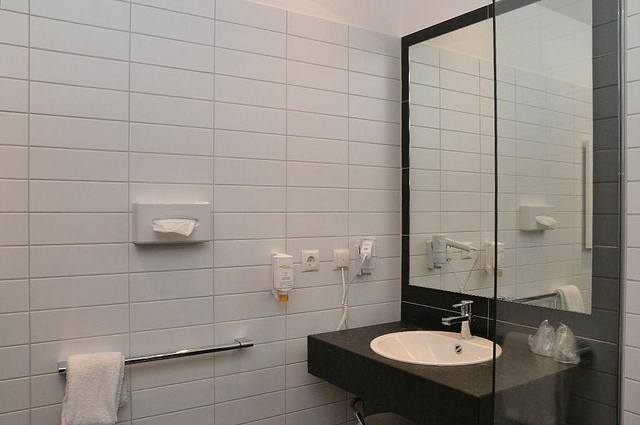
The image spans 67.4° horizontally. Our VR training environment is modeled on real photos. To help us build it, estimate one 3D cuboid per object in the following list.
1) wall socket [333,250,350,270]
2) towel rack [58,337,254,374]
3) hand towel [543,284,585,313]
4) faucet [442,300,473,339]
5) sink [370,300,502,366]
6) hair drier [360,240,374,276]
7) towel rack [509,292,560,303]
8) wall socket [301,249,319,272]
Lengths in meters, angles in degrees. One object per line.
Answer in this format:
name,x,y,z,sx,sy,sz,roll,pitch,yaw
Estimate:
wall socket,0.117,0.263,2.689,0.108,0.112,0.055,1,-1,-30
towel rack,-0.658,0.680,2.332,0.661,0.031,0.119,-5,-5,-7
hand towel,0.930,0.355,1.802,0.151,0.151,0.081,-2,-4,-44
faucet,0.714,0.561,2.474,0.190,0.191,0.061,-1,0,-29
sink,0.583,0.626,2.434,0.579,0.322,0.610,-2,-1,-19
hair drier,0.269,0.234,2.797,0.091,0.173,0.172,2,4,5
towel rack,0.775,0.309,1.753,0.147,0.017,0.016,-7,-37,-5
wall socket,-0.055,0.261,2.605,0.121,0.127,0.016,0,0,-31
